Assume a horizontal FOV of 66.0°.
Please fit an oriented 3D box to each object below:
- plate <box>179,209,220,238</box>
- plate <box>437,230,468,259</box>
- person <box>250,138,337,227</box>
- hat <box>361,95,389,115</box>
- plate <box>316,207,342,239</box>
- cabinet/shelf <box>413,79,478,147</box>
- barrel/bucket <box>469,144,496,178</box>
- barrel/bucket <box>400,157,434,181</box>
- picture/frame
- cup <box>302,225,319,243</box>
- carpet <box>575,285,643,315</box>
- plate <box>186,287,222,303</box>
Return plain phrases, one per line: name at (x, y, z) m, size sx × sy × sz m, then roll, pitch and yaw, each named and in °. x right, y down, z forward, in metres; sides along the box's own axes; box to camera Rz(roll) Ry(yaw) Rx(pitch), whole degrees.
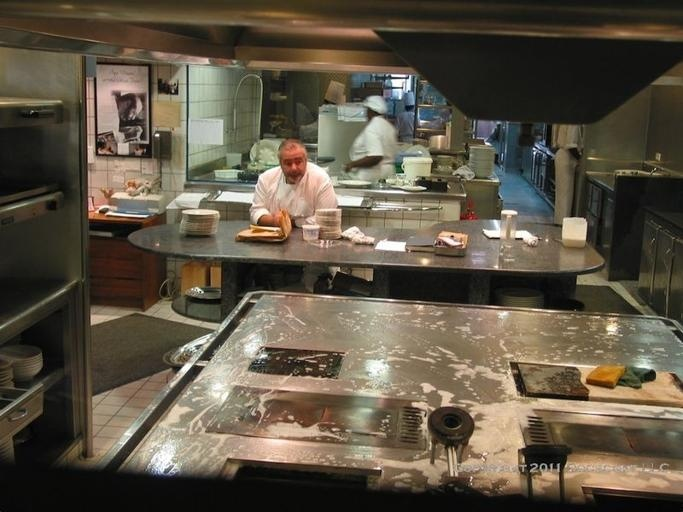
plate at (-1.214, -0.280, 4.529) m, size 0.282 × 0.143 × 0.257 m, roll -1°, pitch 11°, yaw -9°
plate at (0.863, -0.103, 4.083) m, size 0.207 × 0.061 × 0.332 m, roll 3°, pitch 15°, yaw 10°
person at (-0.441, -0.652, 4.928) m, size 0.791 × 0.827 × 0.448 m, roll 1°, pitch -8°, yaw -8°
hat at (0.435, -1.957, 6.848) m, size 0.252 × 0.219 × 0.303 m, roll 6°, pitch 24°, yaw 9°
plate at (-0.102, -0.266, 4.505) m, size 0.264 × 0.239 × 0.247 m, roll 2°, pitch 10°, yaw 18°
cabinet/shelf at (1.713, -2.290, 8.905) m, size 0.913 × 1.364 × 1.971 m, roll -1°, pitch -7°, yaw 10°
barrel/bucket at (2.229, -1.453, 8.175) m, size 0.406 × 0.454 × 0.513 m, roll -2°, pitch 7°, yaw -5°
barrel/bucket at (0.979, -1.080, 6.704) m, size 0.395 × 0.299 × 0.361 m, roll 1°, pitch 5°, yaw 0°
picture/frame at (-2.536, -1.679, 6.077) m, size 0.650 × 0.997 × 0.479 m, roll 1°, pitch -8°, yaw -7°
cup at (-0.253, -0.180, 4.407) m, size 0.151 × 0.096 × 0.141 m, roll 1°, pitch 10°, yaw 0°
carpet at (3.257, 0.559, 6.515) m, size 0.584 × 0.180 × 0.828 m, roll -1°, pitch 21°, yaw 2°
plate at (-1.301, 0.383, 5.016) m, size 0.209 × 0.020 × 0.209 m, roll 15°, pitch 22°, yaw 38°
